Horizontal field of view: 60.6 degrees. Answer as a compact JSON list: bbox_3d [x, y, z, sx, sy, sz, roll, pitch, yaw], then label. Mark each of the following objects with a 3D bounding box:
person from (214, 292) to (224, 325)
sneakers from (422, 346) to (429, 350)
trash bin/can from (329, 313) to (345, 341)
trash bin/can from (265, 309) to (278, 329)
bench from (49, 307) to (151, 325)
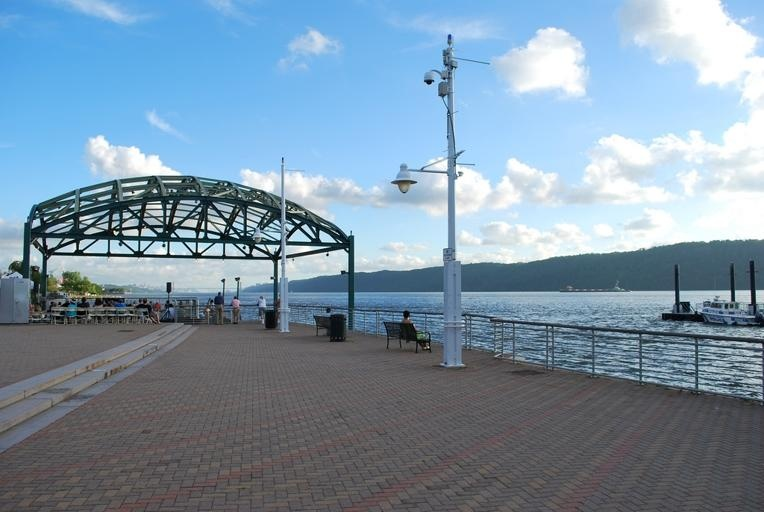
[{"bbox_3d":[-8.736,2.733,35.065,0.497,1.309,1.241,4,-2,-19],"label":"person"},{"bbox_3d":[1.345,2.840,20.353,0.152,0.133,0.145,1,-13,-8],"label":"sneakers"},{"bbox_3d":[-1.674,2.612,24.122,0.871,1.028,0.834,0,-4,-5],"label":"trash bin/can"},{"bbox_3d":[-5.199,2.908,30.472,0.838,1.035,0.816,0,0,-7],"label":"trash bin/can"},{"bbox_3d":[-14.235,2.934,32.903,4.385,0.750,1.497,4,-2,-22],"label":"bench"}]
